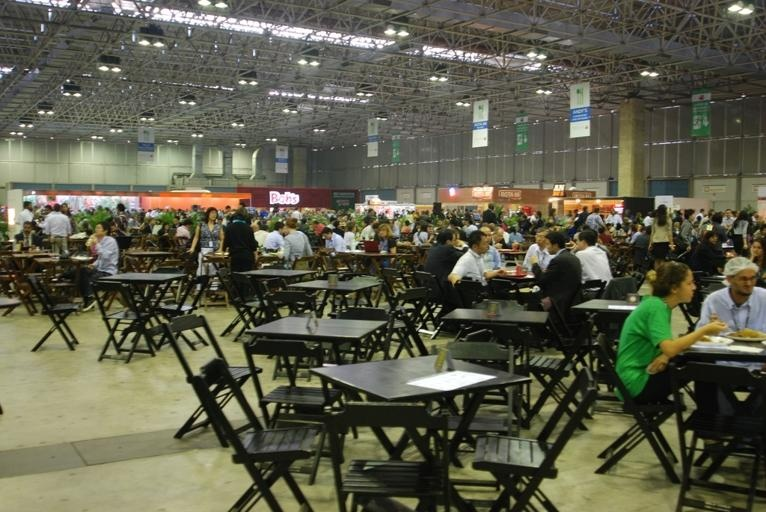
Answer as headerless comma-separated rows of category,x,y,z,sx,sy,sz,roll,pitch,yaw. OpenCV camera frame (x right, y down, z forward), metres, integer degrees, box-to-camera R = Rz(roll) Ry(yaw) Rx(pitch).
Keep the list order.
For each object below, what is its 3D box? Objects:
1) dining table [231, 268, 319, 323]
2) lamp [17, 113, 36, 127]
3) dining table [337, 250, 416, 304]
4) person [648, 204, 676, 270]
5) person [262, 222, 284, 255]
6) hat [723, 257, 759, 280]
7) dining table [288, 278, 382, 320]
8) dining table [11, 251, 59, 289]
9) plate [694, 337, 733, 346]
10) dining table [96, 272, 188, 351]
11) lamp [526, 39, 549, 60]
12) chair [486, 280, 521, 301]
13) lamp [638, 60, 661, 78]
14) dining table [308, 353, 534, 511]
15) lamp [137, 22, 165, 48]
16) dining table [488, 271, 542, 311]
dining table,-1.899,0.650,10.010,1.113,0.551,0.957,1,5,9
lamp,-22.704,-8.673,37.194,1.336,0.939,0.588,-1,47,-19
dining table,0.065,0.511,14.173,2.015,0.843,1.606,-1,3,-18
person,7.512,-0.529,15.909,0.563,1.745,1.064,2,7,24
person,-2.640,-0.435,14.019,0.489,0.727,1.160,-2,5,-10
hat,3.541,0.098,5.863,0.325,0.091,0.268,7,-25,-7
dining table,-0.842,0.707,9.467,1.710,0.311,0.926,-6,1,6
dining table,-7.724,0.216,12.768,1.056,0.599,1.592,1,0,-22
plate,3.084,0.805,5.475,0.169,0.016,0.150,-5,7,-33
dining table,-4.014,0.957,9.610,1.539,0.849,1.469,-10,-20,32
lamp,5.961,-8.084,22.859,1.165,0.706,0.926,0,9,7
chair,1.921,0.557,9.630,0.511,0.393,0.213,8,0,2
lamp,11.524,-8.166,25.642,1.063,0.272,0.950,-2,3,-34
dining table,0.239,1.263,4.967,1.890,0.885,1.432,-3,7,-21
lamp,-8.020,-7.597,20.165,0.798,0.869,1.659,-3,5,-20
dining table,2.200,0.550,9.601,0.867,0.360,0.962,-2,5,-15
